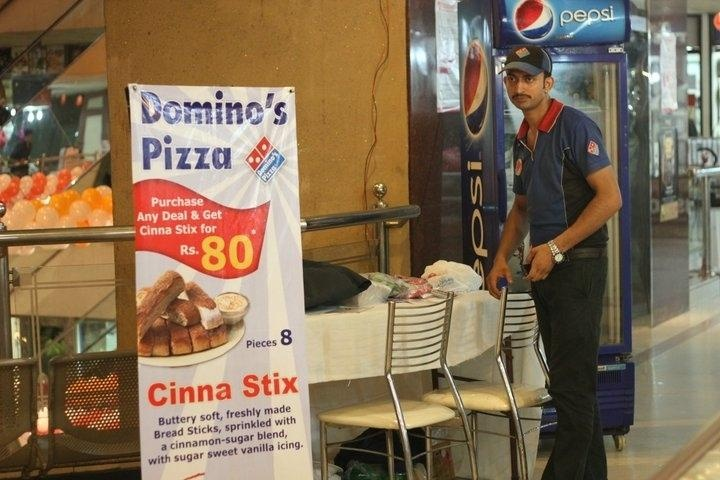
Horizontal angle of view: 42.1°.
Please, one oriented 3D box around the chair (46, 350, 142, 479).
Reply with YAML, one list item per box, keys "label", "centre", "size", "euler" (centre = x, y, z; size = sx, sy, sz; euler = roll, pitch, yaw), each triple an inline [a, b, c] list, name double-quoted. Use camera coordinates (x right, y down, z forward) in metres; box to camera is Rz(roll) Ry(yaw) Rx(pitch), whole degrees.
- label: "chair"
  centre: [-1.602, 1.005, 5.860]
  size: [0.718, 0.792, 0.648]
  euler: [-1, 1, -12]
